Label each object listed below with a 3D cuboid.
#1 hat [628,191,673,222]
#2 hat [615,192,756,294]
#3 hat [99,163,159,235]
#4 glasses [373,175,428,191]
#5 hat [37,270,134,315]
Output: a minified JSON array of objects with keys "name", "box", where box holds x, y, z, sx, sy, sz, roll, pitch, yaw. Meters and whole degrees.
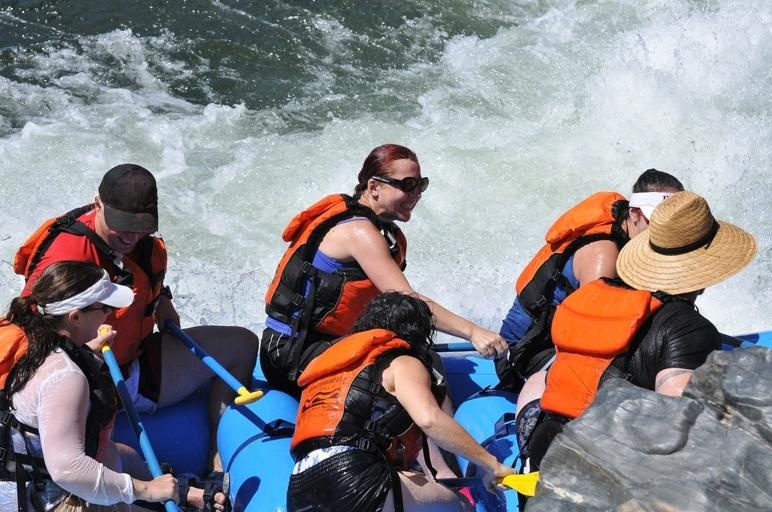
[{"name":"hat","box":[1.895,-0.389,5.732,0.276,0.152,0.223,22,17,39]},{"name":"hat","box":[1.874,-0.042,4.963,0.725,0.341,0.700,-10,39,22]},{"name":"hat","box":[-1.837,-0.393,5.588,0.356,0.275,0.528,3,40,-30]},{"name":"glasses","box":[0.131,-0.563,6.000,0.230,0.074,0.188,14,6,11]},{"name":"hat","box":[-1.912,0.260,5.069,0.434,0.127,0.260,-14,23,-16]}]
